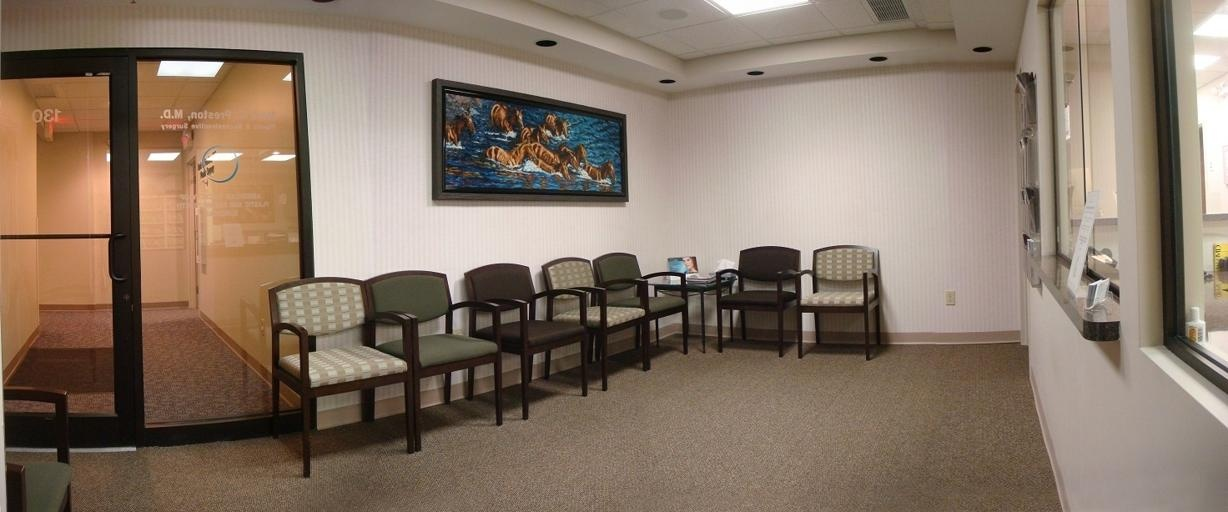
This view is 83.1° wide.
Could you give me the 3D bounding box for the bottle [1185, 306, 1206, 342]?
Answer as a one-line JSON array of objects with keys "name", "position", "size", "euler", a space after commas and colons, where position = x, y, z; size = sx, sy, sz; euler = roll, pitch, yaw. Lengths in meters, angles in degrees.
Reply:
[{"name": "bottle", "position": [4.715, 0.546, 5.581], "size": [0.129, 0.286, 0.055], "euler": [0, 3, 32]}]
